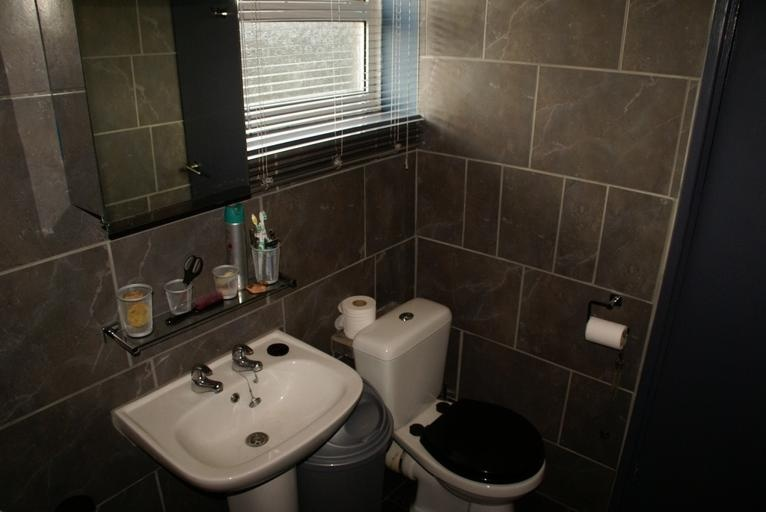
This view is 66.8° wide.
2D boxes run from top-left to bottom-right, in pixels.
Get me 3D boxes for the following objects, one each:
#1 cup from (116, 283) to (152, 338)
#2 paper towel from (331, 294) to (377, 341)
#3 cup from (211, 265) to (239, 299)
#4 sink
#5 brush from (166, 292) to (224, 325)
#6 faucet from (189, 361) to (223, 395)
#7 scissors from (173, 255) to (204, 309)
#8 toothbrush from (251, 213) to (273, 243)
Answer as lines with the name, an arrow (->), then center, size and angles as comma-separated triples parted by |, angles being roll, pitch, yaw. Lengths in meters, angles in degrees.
cup -> -0.853, 0.190, 1.982 | 0.138, 0.177, 0.117 | 2, 31, -1
paper towel -> -0.128, 0.290, 2.705 | 0.194, 0.152, 0.159 | 5, 21, 17
cup -> -0.586, 0.098, 2.217 | 0.110, 0.122, 0.115 | -3, 39, 2
sink -> -0.503, 0.588, 2.163 | 0.608, 0.200, 0.750 | 24, 33, 37
brush -> -0.662, 0.178, 2.128 | 0.069, 0.063, 0.259 | -6, 14, 39
faucet -> -0.668, 0.466, 2.163 | 0.137, 0.114, 0.077 | 7, 19, 14
scissors -> -0.701, 0.088, 2.085 | 0.068, 0.209, 0.022 | 20, 2, 5
toothbrush -> -0.483, -0.089, 2.221 | 0.038, 0.135, 0.080 | -6, 19, 28
